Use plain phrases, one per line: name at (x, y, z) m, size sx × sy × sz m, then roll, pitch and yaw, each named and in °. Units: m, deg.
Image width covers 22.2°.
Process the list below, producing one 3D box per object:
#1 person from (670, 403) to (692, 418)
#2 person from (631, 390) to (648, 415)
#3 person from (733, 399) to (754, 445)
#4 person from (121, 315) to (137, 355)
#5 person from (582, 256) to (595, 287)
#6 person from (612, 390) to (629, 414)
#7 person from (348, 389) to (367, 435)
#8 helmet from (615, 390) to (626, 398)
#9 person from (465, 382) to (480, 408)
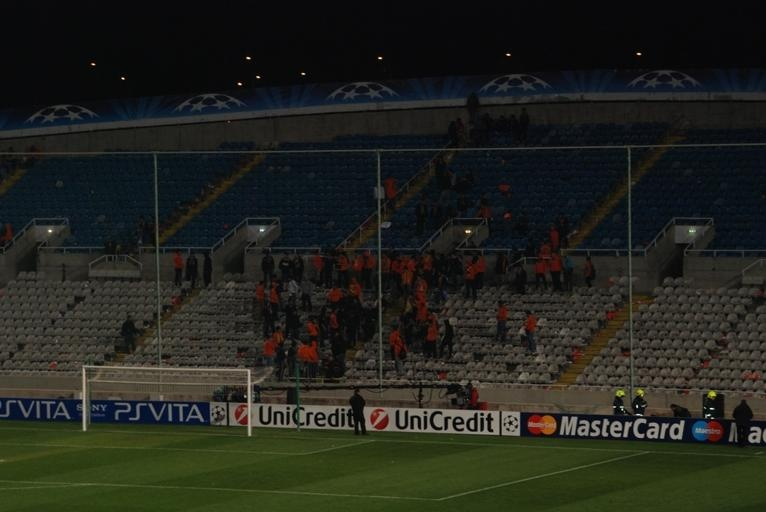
person at (10.136, 5.284, 66.413) m, size 0.327 × 0.338 × 0.894 m, roll -27°, pitch 37°, yaw -35°
person at (8.885, 5.031, 67.256) m, size 0.537 × 0.955 × 2.198 m, roll 0°, pitch -6°, yaw 8°
person at (11.992, 5.521, 64.905) m, size 0.617 × 1.474 × 0.745 m, roll 0°, pitch -6°, yaw 9°
person at (-9.416, 2.967, 72.510) m, size 0.574 × 1.282 × 0.556 m, roll 2°, pitch -6°, yaw -8°
person at (7.619, 0.645, 71.679) m, size 0.418 × 1.119 × 0.287 m, roll 1°, pitch -6°, yaw -3°
person at (8.180, 5.048, 67.121) m, size 0.468 × 1.288 × 0.674 m, roll -7°, pitch 8°, yaw 3°
person at (-0.833, 5.358, 67.251) m, size 0.588 × 1.547 × 1.054 m, roll 1°, pitch -6°, yaw -1°
helmet at (8.146, 4.704, 66.568) m, size 0.303 × 0.247 × 0.222 m, roll -9°, pitch 11°, yaw -6°
person at (3.140, 4.870, 67.986) m, size 0.449 × 0.885 × 0.728 m, roll 1°, pitch -6°, yaw -1°
